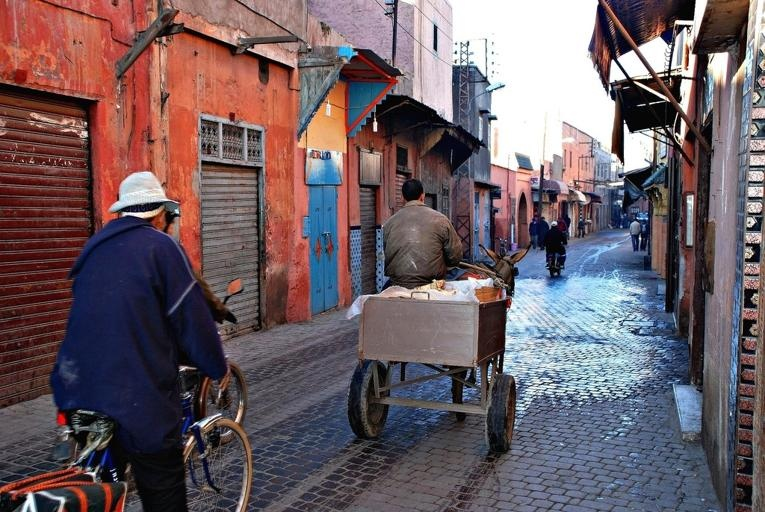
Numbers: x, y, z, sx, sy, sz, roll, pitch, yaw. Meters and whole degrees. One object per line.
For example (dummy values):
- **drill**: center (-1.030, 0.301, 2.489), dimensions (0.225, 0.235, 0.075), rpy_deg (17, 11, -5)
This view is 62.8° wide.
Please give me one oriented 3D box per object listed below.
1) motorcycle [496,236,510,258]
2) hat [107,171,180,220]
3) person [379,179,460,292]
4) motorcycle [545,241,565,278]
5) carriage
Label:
- **motorcycle**: center (6.428, -0.565, 33.312), dimensions (1.098, 1.204, 1.851), rpy_deg (2, 8, 12)
- **hat**: center (-1.531, -0.373, 4.067), dimensions (0.308, 0.218, 0.350), rpy_deg (-2, -4, -6)
- **person**: center (0.111, -0.126, 6.966), dimensions (0.580, 1.486, 2.064), rpy_deg (-1, -1, -19)
- **motorcycle**: center (6.440, 0.165, 23.131), dimensions (0.608, 1.170, 0.724), rpy_deg (-4, 4, 12)
- **carriage**: center (0.698, 0.873, 6.813), dimensions (1.647, 1.839, 1.182), rpy_deg (1, 5, 16)
